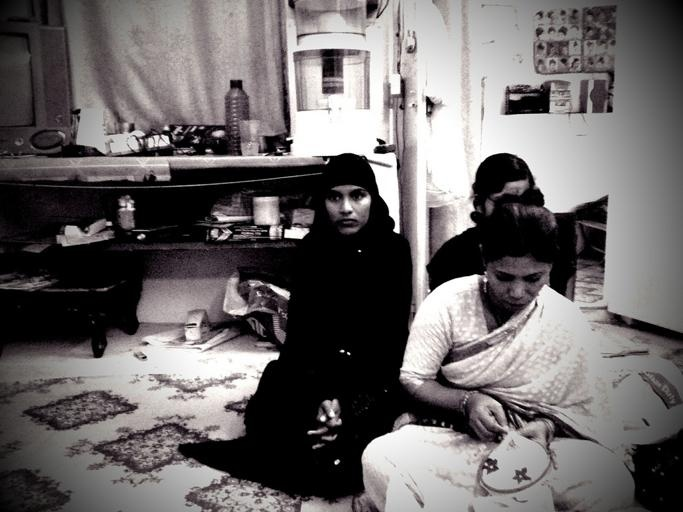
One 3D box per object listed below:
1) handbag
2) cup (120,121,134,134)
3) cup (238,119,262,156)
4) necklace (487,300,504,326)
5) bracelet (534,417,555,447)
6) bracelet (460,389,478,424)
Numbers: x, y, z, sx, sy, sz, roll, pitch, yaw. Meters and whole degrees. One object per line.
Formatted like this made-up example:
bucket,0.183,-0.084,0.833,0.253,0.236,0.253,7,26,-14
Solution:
handbag,-0.479,0.260,3.216,0.492,0.206,0.561,11,11,-24
cup,-1.177,-0.704,3.209,0.072,0.060,0.061,-3,11,-7
cup,-0.486,-0.633,3.124,0.114,0.184,0.165,-3,11,-8
necklace,0.507,0.197,1.937,0.019,0.068,0.071,-17,28,-29
bracelet,0.646,0.560,1.864,0.061,0.071,0.055,-1,11,6
bracelet,0.404,0.489,1.919,0.027,0.081,0.070,5,-5,8
